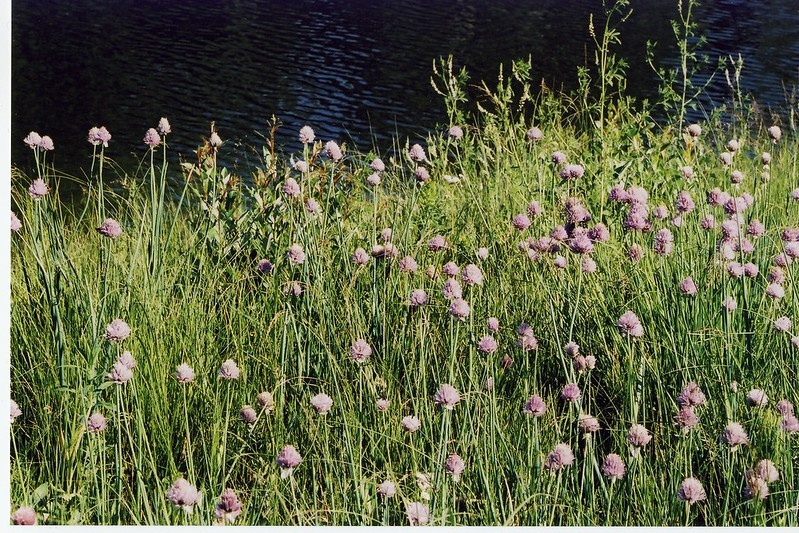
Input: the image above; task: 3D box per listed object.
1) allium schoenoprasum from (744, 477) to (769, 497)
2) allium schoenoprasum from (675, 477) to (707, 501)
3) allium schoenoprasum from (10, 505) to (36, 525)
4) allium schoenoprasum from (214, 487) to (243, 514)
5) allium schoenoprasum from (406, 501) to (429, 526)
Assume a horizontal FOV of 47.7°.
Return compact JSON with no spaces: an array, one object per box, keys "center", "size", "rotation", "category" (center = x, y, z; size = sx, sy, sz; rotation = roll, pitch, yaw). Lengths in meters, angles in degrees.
[{"center":[1.262,0.782,3.219],"size":[0.072,0.096,0.104],"rotation":[3,6,21],"category":"allium schoenoprasum"},{"center":[1.015,0.782,3.164],"size":[0.104,0.101,0.074],"rotation":[1,5,2],"category":"allium schoenoprasum"},{"center":[-1.317,0.886,3.194],"size":[0.072,0.085,0.071],"rotation":[-2,6,-30],"category":"allium schoenoprasum"},{"center":[-0.580,0.783,3.066],"size":[0.069,0.103,0.079],"rotation":[2,0,-2],"category":"allium schoenoprasum"},{"center":[0.062,0.850,3.128],"size":[0.078,0.025,0.090],"rotation":[-11,43,-15],"category":"allium schoenoprasum"}]
